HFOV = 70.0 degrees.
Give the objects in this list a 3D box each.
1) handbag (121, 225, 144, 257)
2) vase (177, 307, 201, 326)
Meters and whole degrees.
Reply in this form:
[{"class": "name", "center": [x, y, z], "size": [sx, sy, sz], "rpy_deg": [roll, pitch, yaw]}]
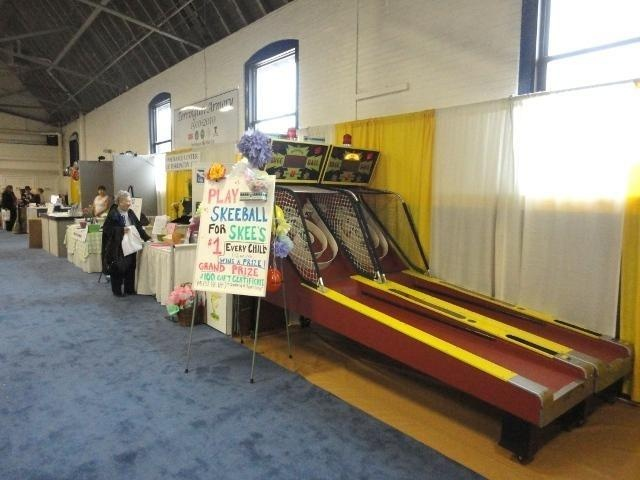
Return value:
[{"class": "handbag", "center": [-2.606, 0.018, 6.308], "size": [0.179, 0.415, 0.414], "rpy_deg": [-8, 1, 4]}, {"class": "vase", "center": [-1.488, 0.868, 5.292], "size": [0.289, 0.200, 0.264], "rpy_deg": [-2, -5, 18]}]
